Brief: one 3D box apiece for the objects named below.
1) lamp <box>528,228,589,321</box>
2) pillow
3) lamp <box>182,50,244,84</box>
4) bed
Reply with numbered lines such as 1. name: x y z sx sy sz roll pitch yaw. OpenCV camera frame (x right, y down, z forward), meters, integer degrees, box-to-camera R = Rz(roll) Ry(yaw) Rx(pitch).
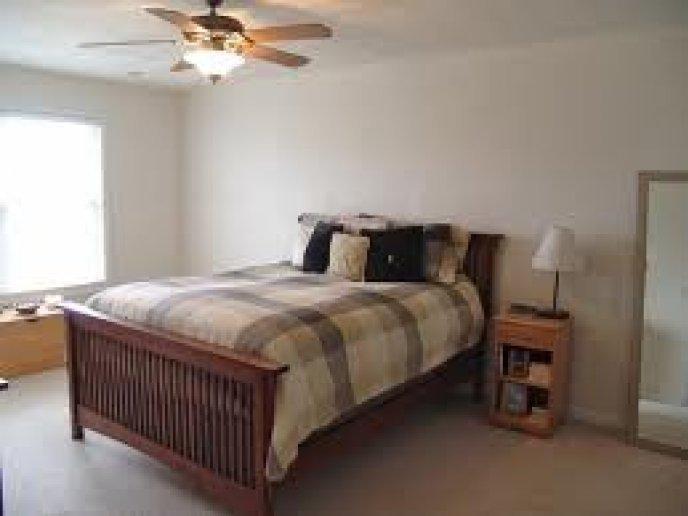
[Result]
1. lamp: 1.518 0.087 3.708 0.363 0.616 0.349 6 15 20
2. pillow: 0.055 -0.167 4.480 1.074 0.620 0.278 0 -15 28
3. lamp: -0.769 -1.159 3.058 0.253 0.102 0.249 0 -4 9
4. bed: -0.467 0.484 3.373 1.411 0.913 1.676 5 9 39
